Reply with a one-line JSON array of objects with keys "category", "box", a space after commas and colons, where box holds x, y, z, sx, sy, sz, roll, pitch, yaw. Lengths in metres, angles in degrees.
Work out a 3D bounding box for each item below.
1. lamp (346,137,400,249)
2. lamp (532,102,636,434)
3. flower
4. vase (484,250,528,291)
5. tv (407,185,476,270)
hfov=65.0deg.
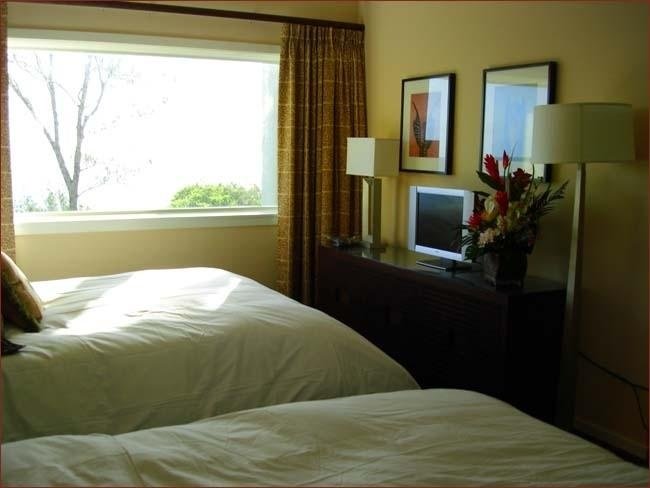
[{"category": "lamp", "box": [0.401, -0.453, 4.368, 0.295, 0.878, 0.481, -6, 12, -30]}, {"category": "lamp", "box": [1.384, 0.137, 2.852, 0.523, 1.778, 0.257, -2, 12, -12]}, {"category": "flower", "box": [1.016, -0.234, 3.210, 0.613, 0.731, 0.671, 2, 0, -8]}, {"category": "vase", "box": [1.060, 0.138, 2.979, 0.246, 0.212, 0.257, 4, 13, 13]}, {"category": "tv", "box": [0.855, -0.135, 3.705, 0.186, 0.508, 0.666, -4, 10, -26]}]
